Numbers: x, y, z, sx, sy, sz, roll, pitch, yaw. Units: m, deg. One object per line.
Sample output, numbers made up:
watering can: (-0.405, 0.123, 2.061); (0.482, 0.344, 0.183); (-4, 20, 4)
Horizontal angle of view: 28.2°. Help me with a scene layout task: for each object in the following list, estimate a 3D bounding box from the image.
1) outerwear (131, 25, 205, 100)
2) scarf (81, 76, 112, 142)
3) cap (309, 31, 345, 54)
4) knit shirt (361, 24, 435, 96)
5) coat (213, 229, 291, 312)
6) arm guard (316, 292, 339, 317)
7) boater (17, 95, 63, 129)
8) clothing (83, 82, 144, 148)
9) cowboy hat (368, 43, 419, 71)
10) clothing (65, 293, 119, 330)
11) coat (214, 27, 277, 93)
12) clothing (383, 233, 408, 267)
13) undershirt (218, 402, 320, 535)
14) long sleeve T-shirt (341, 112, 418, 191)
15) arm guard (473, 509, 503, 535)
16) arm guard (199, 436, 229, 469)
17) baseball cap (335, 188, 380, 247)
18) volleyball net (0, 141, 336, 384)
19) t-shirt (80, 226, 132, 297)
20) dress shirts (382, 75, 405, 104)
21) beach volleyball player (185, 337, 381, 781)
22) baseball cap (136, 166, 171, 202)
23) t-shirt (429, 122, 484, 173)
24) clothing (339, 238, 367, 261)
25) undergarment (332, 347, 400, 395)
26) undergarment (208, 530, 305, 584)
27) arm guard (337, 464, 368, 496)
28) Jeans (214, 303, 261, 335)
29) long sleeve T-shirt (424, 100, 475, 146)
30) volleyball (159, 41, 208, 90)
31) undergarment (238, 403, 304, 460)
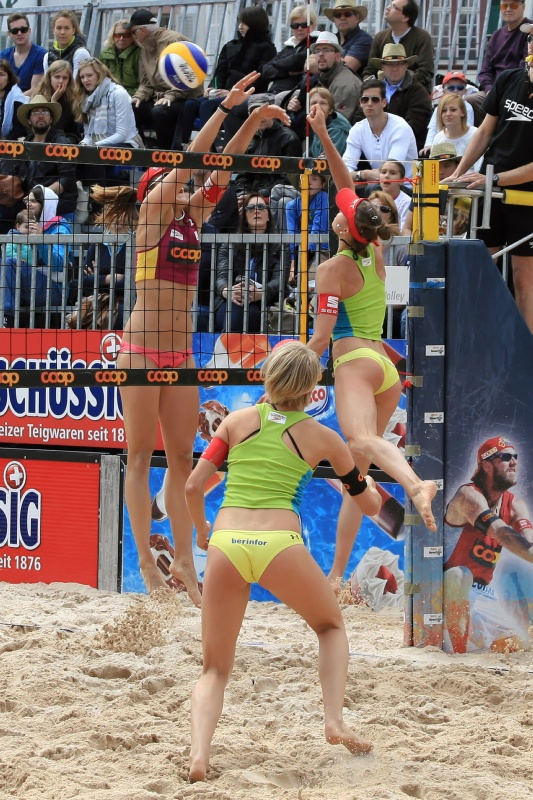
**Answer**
outerwear: (-0.950, -3.061, 9.756); (0.611, 0.657, 0.527); (8, 25, 41)
scarf: (-1.496, -2.533, 9.213); (0.231, 0.560, 0.157); (9, 33, 10)
cap: (0.492, -2.866, 8.480); (0.203, 0.087, 0.249); (4, -16, 8)
knit shirt: (1.029, -2.768, 8.737); (0.609, 0.660, 0.599); (1, -2, 11)
coat: (-0.083, -0.810, 6.505); (0.375, 0.467, 0.466); (3, -40, 0)
arm guard: (0.281, -0.446, 4.974); (0.098, 0.103, 0.103); (8, 11, 22)
boater: (-1.890, -2.397, 8.873); (0.371, 0.158, 0.424); (-2, -22, -18)
clothing: (-1.386, -2.442, 9.267); (0.500, 0.660, 0.567); (-8, 14, -16)
cowboy hat: (0.997, -2.682, 8.349); (0.358, 0.159, 0.368); (1, 1, 7)
clothing: (-1.105, -0.525, 6.770); (0.281, 0.159, 0.348); (0, -7, -22)
coat: (-0.214, -2.950, 9.369); (0.484, 0.660, 0.377); (10, 3, 24)
clothing: (0.720, -0.860, 6.074); (0.201, 0.190, 0.047); (2, 11, 12)
undershirt: (0.006, 0.222, 3.689); (0.301, 0.422, 0.255); (10, -7, -7)
long sleeve T-shirt: (0.803, -1.798, 7.699); (0.427, 0.526, 0.496); (4, 3, 28)
arm guard: (1.059, 0.594, 5.131); (0.087, 0.115, 0.115); (16, -17, 1)
arm guard: (-0.173, 0.181, 3.730); (0.104, 0.103, 0.096); (27, 4, -17)
baseball cap: (0.409, -0.873, 5.008); (0.138, 0.282, 0.233); (0, 2, -9)
volleyball net: (-0.548, -0.711, 5.899); (1.803, 1.219, 0.034); (0, -4, -16)
t-shirt: (-1.034, -0.858, 6.784); (0.285, 0.336, 0.209); (8, 23, -29)
dress shirts: (0.969, -2.420, 8.281); (0.192, 0.263, 0.102); (6, -23, 11)
beach volleyball player: (0.040, 0.524, 3.618); (0.631, 1.440, 0.358); (1, 2, -6)
baseball cap: (-0.526, -1.036, 5.086); (0.138, 0.113, 0.176); (39, 21, 12)
t-shirt: (1.329, -1.794, 7.353); (0.433, 0.194, 0.509); (0, 35, -1)
clothing: (0.413, -0.711, 5.043); (0.100, 0.045, 0.098); (13, -2, -37)
undergarment: (0.488, -0.160, 5.137); (0.239, 0.118, 0.258); (-33, -51, 21)
undergarment: (-0.045, 0.488, 3.476); (0.254, 0.135, 0.182); (0, -34, 6)
arm guard: (0.305, 0.290, 3.778); (0.099, 0.106, 0.098); (-20, 23, 19)
Jeans: (-0.160, -0.541, 6.601); (0.272, 0.255, 0.091); (3, 13, 15)
long sleeve T-shirt: (1.283, -2.012, 7.725); (0.310, 0.393, 0.409); (7, 8, 4)
volleyball: (-0.433, -1.686, 5.469); (0.251, 0.255, 0.254); (27, 27, 35)
undergarment: (0.020, 0.116, 3.622); (0.134, 0.168, 0.094); (16, -11, 22)
